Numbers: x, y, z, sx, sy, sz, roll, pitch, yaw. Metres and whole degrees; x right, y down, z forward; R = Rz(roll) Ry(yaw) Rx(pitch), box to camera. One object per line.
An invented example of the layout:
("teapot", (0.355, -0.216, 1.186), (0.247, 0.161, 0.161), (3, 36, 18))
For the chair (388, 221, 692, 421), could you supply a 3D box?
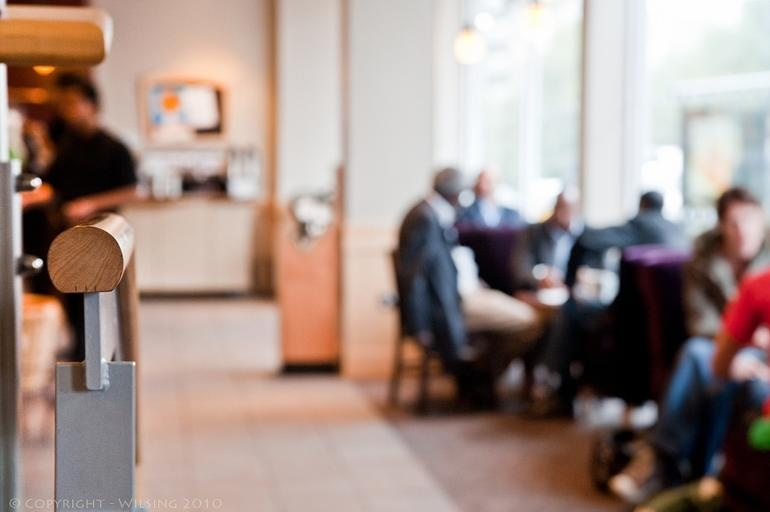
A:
("chair", (0.336, 0.093, 1.626), (0.480, 0.558, 0.447), (-3, -3, 18))
